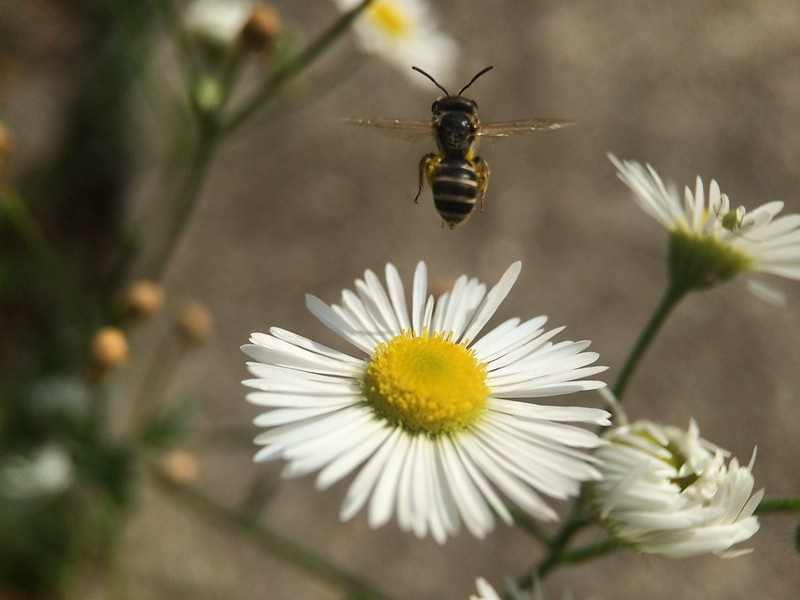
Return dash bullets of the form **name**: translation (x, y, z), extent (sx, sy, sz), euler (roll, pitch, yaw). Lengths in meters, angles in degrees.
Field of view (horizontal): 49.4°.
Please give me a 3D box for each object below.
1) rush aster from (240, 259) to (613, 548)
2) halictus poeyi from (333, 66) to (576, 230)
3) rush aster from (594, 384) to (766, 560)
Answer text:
- **rush aster**: translation (0.034, 0.093, 0.899), extent (0.374, 0.133, 0.438), euler (18, 30, 22)
- **halictus poeyi**: translation (0.061, -0.178, 1.080), extent (0.237, 0.210, 0.107), euler (-2, -32, 1)
- **rush aster**: translation (0.287, 0.194, 0.916), extent (0.213, 0.134, 0.288), euler (16, -5, 5)
